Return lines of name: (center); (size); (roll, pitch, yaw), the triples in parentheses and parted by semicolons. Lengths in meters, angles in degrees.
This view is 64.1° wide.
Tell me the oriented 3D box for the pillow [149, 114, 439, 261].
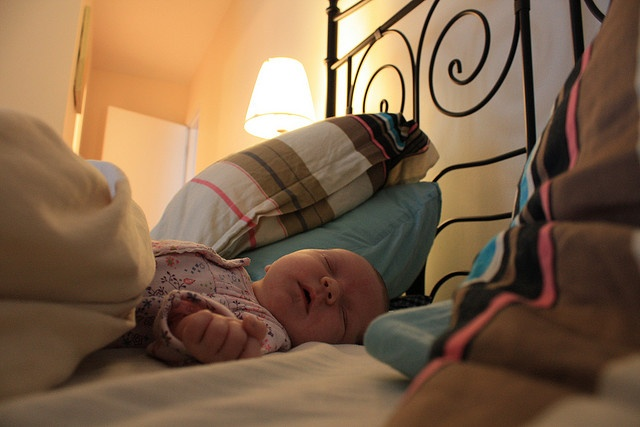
pillow: (-0.045, -0.172, 1.534); (0.642, 0.203, 0.505); (-33, 19, -1)
